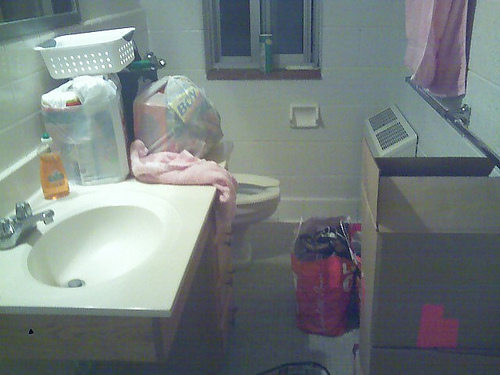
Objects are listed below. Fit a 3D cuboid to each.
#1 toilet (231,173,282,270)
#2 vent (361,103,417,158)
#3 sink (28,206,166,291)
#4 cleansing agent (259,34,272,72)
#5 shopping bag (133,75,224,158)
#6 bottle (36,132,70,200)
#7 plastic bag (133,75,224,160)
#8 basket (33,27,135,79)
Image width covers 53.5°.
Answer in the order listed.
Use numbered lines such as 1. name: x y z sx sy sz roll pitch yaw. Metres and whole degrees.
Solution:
1. toilet: 0.001 0.222 2.766 0.315 0.500 0.382 0 21 -2
2. vent: 0.775 -0.275 2.768 0.204 0.213 0.672 0 30 4
3. sink: -0.509 0.191 1.646 0.424 0.136 0.253 -16 33 -24
4. cleansing agent: 0.113 -0.808 2.978 0.110 0.199 0.112 2 17 12
5. shopping bag: -0.293 -0.322 2.174 0.247 0.273 0.408 1 27 12
6. bottle: -0.710 -0.080 1.754 0.093 0.240 0.066 -14 31 -21
7. plastic bag: -0.282 -0.310 2.158 0.312 0.361 0.364 3 23 2
8. basket: -0.599 -0.495 1.821 0.244 0.094 0.204 -5 36 1
